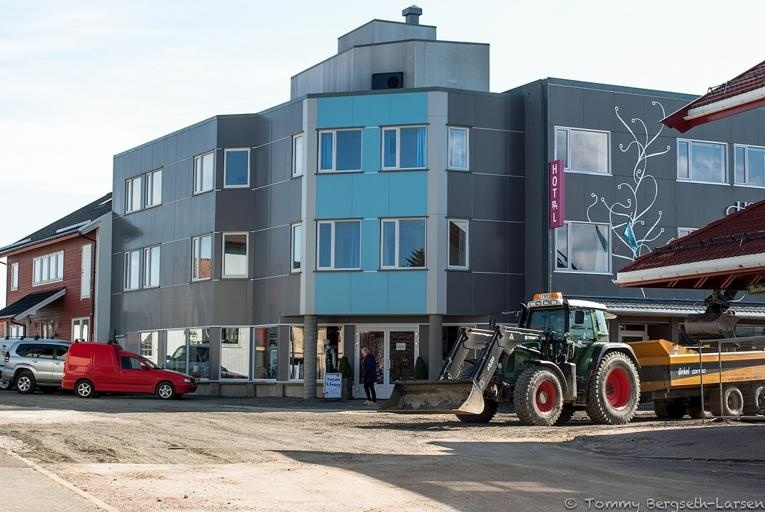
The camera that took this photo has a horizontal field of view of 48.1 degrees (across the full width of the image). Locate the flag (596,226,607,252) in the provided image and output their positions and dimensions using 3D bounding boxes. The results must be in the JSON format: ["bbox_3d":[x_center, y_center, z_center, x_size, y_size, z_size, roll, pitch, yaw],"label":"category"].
[{"bbox_3d":[8.643,-0.713,33.918,0.449,1.008,0.097,-10,6,-25],"label":"flag"}]

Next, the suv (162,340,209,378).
[{"bbox_3d":[-8.516,4.447,37.672,2.037,1.136,1.254,4,0,38],"label":"suv"}]

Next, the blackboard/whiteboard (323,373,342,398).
[{"bbox_3d":[-1.911,4.902,32.381,0.699,0.992,0.272,-8,5,0],"label":"blackboard/whiteboard"}]

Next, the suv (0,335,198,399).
[{"bbox_3d":[-11.166,4.462,32.640,7.121,2.049,2.280,-7,5,17],"label":"suv"}]

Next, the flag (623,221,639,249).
[{"bbox_3d":[9.841,-0.840,34.166,0.555,1.135,0.271,-11,6,-28],"label":"flag"}]

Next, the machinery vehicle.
[{"bbox_3d":[3.632,2.916,23.136,6.252,3.307,3.436,5,-7,-31],"label":"machinery vehicle"}]
